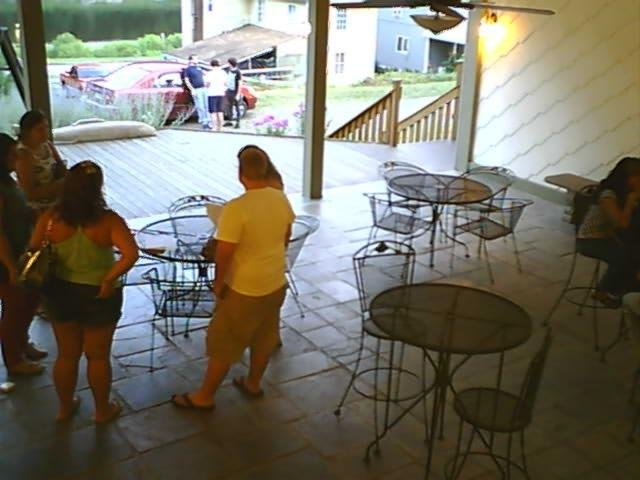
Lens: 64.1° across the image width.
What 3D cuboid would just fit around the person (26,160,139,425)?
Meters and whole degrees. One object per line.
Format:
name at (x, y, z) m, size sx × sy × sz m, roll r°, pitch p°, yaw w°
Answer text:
person at (-1.505, 0.387, 3.330) m, size 0.620 × 1.757 × 0.474 m, roll -10°, pitch 29°, yaw -27°

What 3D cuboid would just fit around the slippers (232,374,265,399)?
slippers at (-0.558, 1.118, 3.896) m, size 0.273 × 0.106 × 0.102 m, roll 28°, pitch 20°, yaw 30°

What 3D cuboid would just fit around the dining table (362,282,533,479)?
dining table at (0.835, 0.982, 3.425) m, size 0.857 × 0.879 × 0.859 m, roll -21°, pitch 37°, yaw -34°

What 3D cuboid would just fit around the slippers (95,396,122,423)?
slippers at (-1.453, 1.175, 3.559) m, size 0.086 × 0.149 × 0.166 m, roll 14°, pitch 32°, yaw 18°

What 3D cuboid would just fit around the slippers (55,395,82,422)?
slippers at (-1.716, 1.158, 3.562) m, size 0.082 × 0.132 × 0.201 m, roll 7°, pitch 28°, yaw 5°

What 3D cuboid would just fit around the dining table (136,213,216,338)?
dining table at (-1.179, 0.233, 4.333) m, size 0.837 × 0.384 × 1.130 m, roll -1°, pitch 38°, yaw -9°

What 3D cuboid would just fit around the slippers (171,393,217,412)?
slippers at (-0.918, 1.158, 3.664) m, size 0.278 × 0.062 × 0.115 m, roll 8°, pitch 22°, yaw -1°

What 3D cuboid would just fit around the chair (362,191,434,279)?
chair at (0.899, -0.033, 5.882) m, size 0.692 × 0.842 × 0.690 m, roll -22°, pitch 45°, yaw -16°

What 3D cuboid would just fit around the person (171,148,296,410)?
person at (-0.542, 0.341, 3.443) m, size 0.457 × 1.798 × 0.702 m, roll 21°, pitch 30°, yaw 32°

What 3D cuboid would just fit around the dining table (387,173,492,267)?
dining table at (1.260, -0.215, 6.222) m, size 1.303 × 0.885 × 1.177 m, roll 10°, pitch 36°, yaw 12°

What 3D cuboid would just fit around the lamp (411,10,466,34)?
lamp at (1.013, -1.882, 4.426) m, size 0.411 × 0.187 × 0.439 m, roll 14°, pitch 24°, yaw 25°
